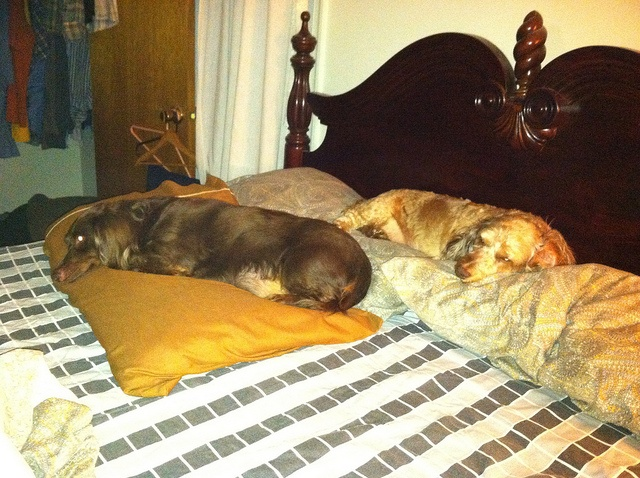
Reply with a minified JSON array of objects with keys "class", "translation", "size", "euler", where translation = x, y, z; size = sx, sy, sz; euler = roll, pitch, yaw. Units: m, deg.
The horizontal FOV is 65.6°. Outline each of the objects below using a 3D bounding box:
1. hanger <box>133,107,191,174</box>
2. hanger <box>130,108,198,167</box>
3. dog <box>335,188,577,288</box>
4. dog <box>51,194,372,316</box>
[{"class":"hanger","translation":[-1.224,-0.772,3.911],"size":[0.619,0.458,0.104],"euler":[20,32,12]},{"class":"hanger","translation":[-1.141,-0.744,3.790],"size":[0.641,0.444,0.130],"euler":[16,2,11]},{"class":"dog","translation":[0.650,-0.049,2.473],"size":[0.546,0.290,0.780],"euler":[-13,19,-27]},{"class":"dog","translation":[-0.425,0.076,2.171],"size":[1.355,0.430,0.441],"euler":[5,-4,9]}]
